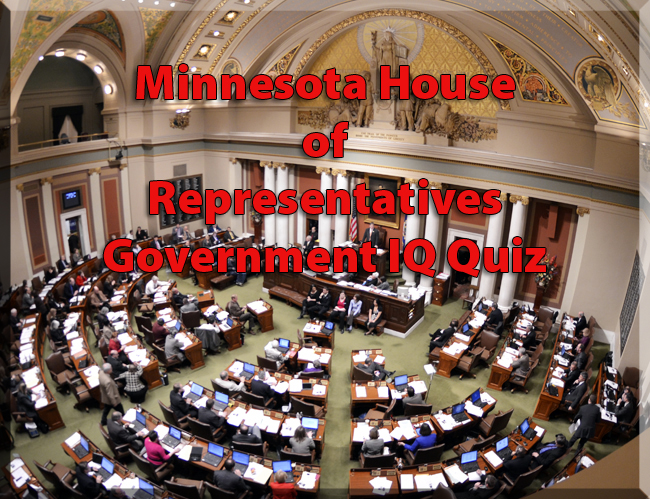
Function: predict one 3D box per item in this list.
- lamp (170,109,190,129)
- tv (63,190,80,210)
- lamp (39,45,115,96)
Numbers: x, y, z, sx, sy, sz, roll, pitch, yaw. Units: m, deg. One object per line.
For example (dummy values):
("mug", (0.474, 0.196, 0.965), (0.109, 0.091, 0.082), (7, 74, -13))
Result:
("lamp", (-7.230, -6.491, 21.365), (0.930, 0.488, 0.683), (-4, 3, -44))
("tv", (-10.884, -2.164, 18.315), (0.123, 0.873, 0.934), (2, 2, 15))
("lamp", (-9.942, -7.456, 18.228), (1.294, 1.184, 2.983), (2, 2, 11))
